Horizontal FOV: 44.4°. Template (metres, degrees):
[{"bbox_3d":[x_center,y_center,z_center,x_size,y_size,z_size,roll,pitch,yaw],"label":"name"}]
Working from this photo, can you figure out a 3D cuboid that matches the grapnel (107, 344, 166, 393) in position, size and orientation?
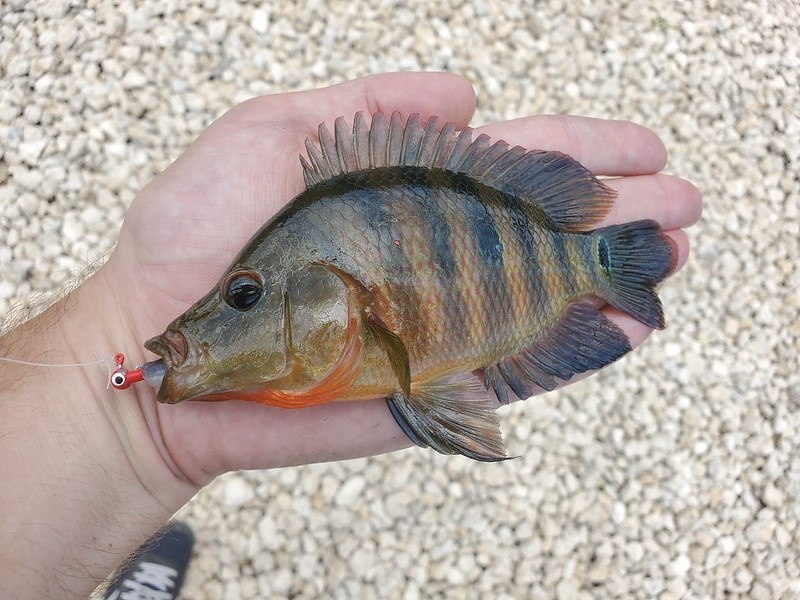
[{"bbox_3d":[-0.909,0.251,3.417,0.176,0.172,0.145,-8,106,-11],"label":"grapnel"}]
